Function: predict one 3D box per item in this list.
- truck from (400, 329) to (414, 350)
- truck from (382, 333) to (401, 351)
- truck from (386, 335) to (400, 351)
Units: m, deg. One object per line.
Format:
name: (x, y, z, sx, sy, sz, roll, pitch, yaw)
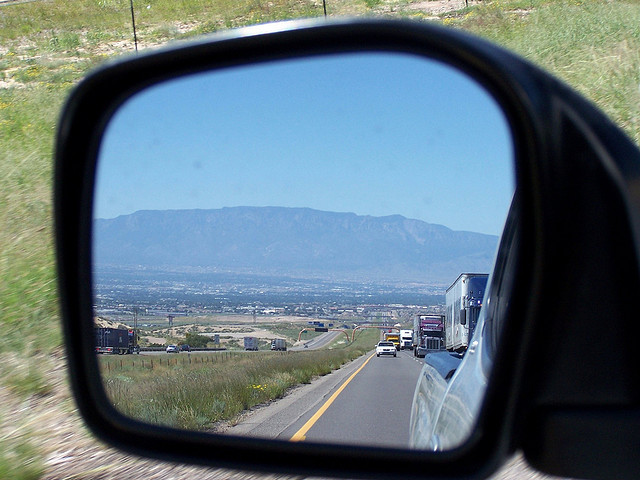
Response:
truck: (8.227, 9.428, 61.181, 1.061, 3.057, 1.502, 0, 78, 1)
truck: (6.877, 9.643, 61.407, 1.858, 1.418, 1.831, 0, 81, -2)
truck: (6.994, 9.641, 60.835, 1.106, 1.862, 1.085, 1, 82, 1)
